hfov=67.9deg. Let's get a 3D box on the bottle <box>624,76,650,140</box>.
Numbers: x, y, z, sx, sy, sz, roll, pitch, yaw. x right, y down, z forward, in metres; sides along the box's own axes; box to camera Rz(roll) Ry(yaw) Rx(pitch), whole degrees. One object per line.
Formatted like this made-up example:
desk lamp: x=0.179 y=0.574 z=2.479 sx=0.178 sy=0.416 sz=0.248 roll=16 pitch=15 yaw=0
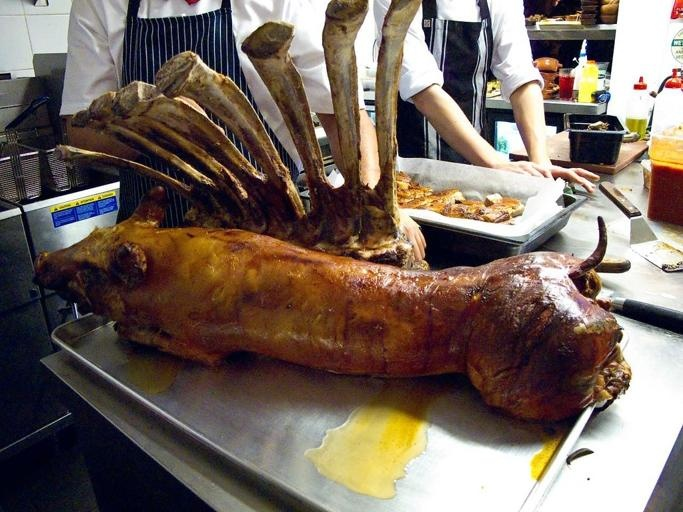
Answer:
bottle: x=1.450 y=-0.719 z=2.458 sx=0.108 sy=0.286 sz=0.329 roll=11 pitch=23 yaw=28
